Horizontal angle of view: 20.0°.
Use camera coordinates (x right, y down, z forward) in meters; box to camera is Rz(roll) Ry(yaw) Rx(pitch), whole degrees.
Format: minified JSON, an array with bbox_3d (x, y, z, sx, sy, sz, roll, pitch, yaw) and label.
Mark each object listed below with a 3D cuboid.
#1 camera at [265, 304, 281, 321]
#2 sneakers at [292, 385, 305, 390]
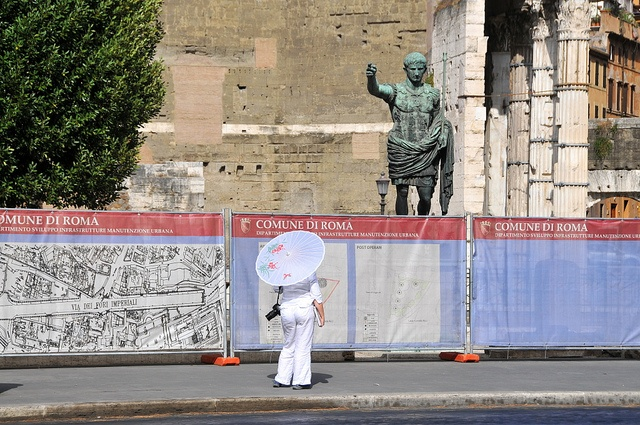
[{"bbox_3d":[-1.152,2.525,45.439,0.432,0.319,0.452,-18,85,-6],"label":"camera"},{"bbox_3d":[-0.517,4.359,44.843,0.284,0.105,0.131,5,87,-6],"label":"sneakers"}]
